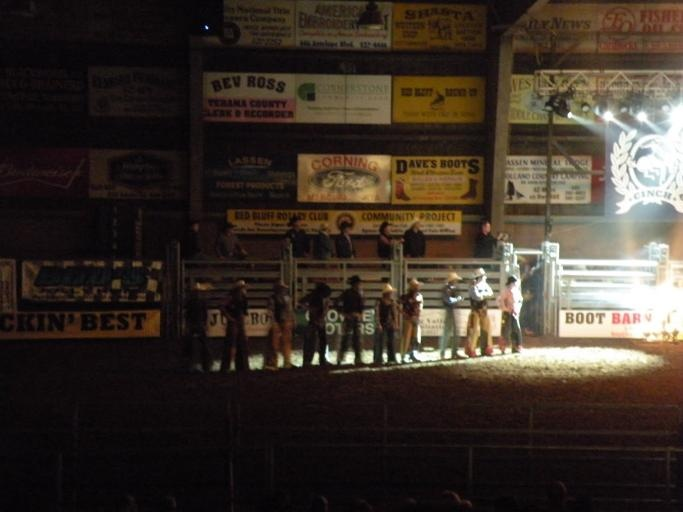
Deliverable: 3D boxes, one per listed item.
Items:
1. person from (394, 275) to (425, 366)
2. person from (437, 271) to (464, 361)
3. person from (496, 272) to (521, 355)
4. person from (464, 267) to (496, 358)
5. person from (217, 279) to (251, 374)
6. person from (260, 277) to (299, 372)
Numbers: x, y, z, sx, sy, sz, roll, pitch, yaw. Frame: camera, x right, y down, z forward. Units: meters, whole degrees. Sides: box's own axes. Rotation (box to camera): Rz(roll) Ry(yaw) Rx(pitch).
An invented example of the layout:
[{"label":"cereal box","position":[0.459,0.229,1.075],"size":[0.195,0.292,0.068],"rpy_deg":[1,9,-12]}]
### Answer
[{"label":"person","position":[1.881,1.719,39.621],"size":[0.755,2.152,0.571],"rpy_deg":[-1,5,-35]},{"label":"person","position":[2.890,1.588,39.895],"size":[0.553,2.284,0.558],"rpy_deg":[0,0,3]},{"label":"person","position":[4.582,1.567,40.213],"size":[0.802,2.077,0.587],"rpy_deg":[-3,3,-44]},{"label":"person","position":[3.684,1.503,40.208],"size":[0.704,2.321,0.699],"rpy_deg":[0,0,5]},{"label":"person","position":[-2.700,1.842,38.820],"size":[0.851,2.318,0.556],"rpy_deg":[4,-3,-37]},{"label":"person","position":[-1.560,1.774,38.974],"size":[0.884,2.248,0.713],"rpy_deg":[1,-3,-14]}]
